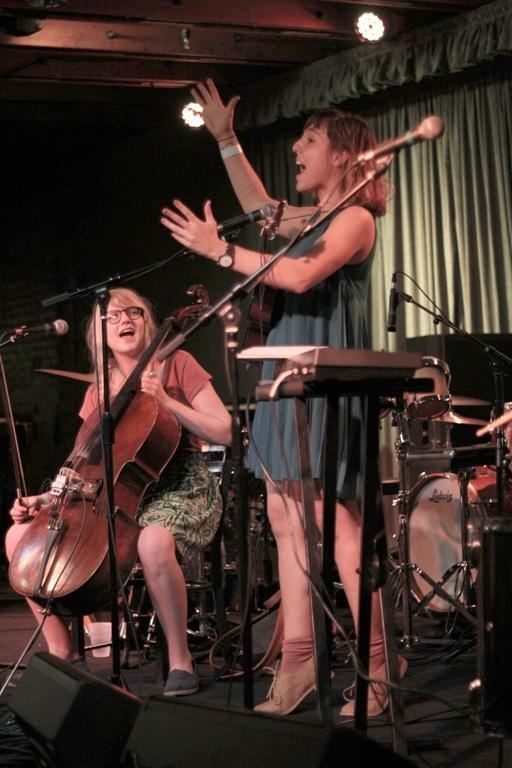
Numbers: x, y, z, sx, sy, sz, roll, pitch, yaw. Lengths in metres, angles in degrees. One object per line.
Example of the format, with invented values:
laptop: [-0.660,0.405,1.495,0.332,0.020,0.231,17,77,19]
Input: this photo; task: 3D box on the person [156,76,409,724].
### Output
person: [0.057,-0.040,2.110,0.660,1.893,0.872,0,-6,10]

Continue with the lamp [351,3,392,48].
lamp: [0.575,-1.834,4.179,0.147,0.121,0.204,1,-5,1]

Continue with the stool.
stool: [-0.365,0.892,3.178,0.560,0.536,0.522,-1,-12,2]

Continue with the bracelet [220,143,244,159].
bracelet: [-0.085,-0.752,2.589,0.061,0.038,0.059,-26,5,-19]

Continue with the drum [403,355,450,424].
drum: [0.725,0.018,3.413,0.186,0.243,0.510,0,-5,11]

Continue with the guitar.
guitar: [0.010,-0.264,2.073,0.133,0.394,0.224,3,20,-1]
